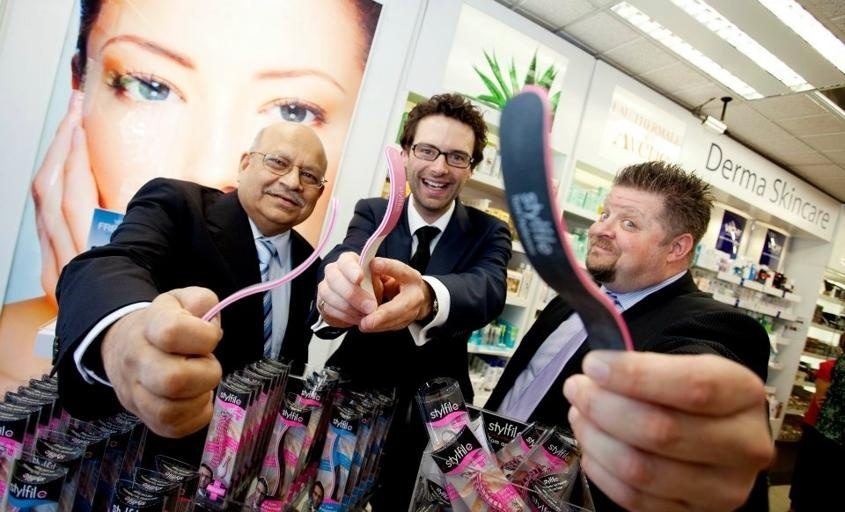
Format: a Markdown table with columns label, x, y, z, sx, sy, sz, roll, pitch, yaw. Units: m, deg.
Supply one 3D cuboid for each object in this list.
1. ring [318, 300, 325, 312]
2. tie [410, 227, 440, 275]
| label | x | y | z | sx | sy | sz | roll | pitch | yaw |
| --- | --- | --- | --- | --- | --- | --- | --- | --- | --- |
| ring | -0.609 | 0.300 | 3.344 | 0.047 | 0.068 | 0.016 | -2 | 0 | 28 |
| tie | 0.009 | -0.064 | 4.043 | 0.162 | 0.376 | 0.108 | 6 | -5 | 4 |
